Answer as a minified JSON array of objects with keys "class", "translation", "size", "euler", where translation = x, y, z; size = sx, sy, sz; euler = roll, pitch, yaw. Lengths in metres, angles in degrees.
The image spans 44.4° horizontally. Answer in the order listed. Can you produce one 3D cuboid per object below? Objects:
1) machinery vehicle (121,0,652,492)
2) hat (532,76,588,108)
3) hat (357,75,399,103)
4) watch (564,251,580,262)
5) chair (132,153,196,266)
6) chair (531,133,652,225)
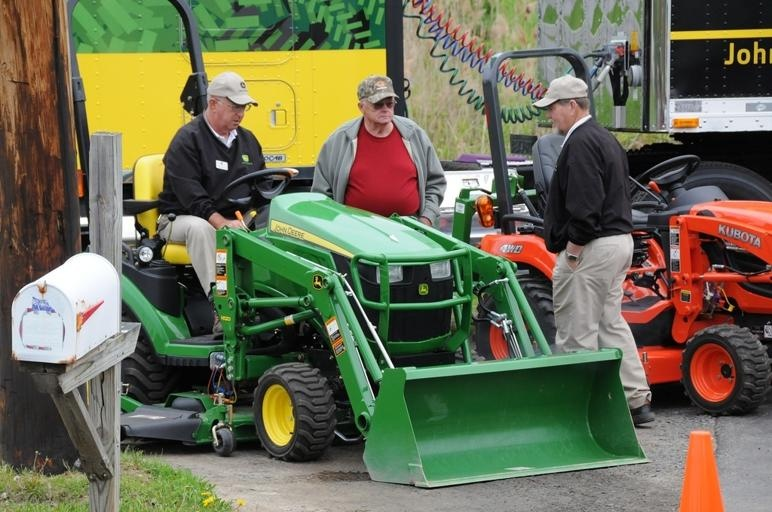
[{"class":"machinery vehicle","translation":[-0.113,0.229,7.507],"size":[2.080,1.994,3.361],"euler":[-4,6,-42]},{"class":"hat","translation":[1.488,-1.385,7.990],"size":[0.445,0.296,0.327],"euler":[-2,4,17]},{"class":"hat","translation":[-0.102,-1.392,7.985],"size":[0.201,0.194,0.299],"euler":[-9,6,-31]},{"class":"watch","translation":[1.536,-0.005,7.731],"size":[0.067,0.123,0.109],"euler":[4,7,-2]},{"class":"chair","translation":[-1.910,-0.374,8.248],"size":[0.626,0.832,0.677],"euler":[16,17,35]},{"class":"chair","translation":[1.784,-0.679,9.020],"size":[0.755,0.905,0.561],"euler":[12,6,13]}]
